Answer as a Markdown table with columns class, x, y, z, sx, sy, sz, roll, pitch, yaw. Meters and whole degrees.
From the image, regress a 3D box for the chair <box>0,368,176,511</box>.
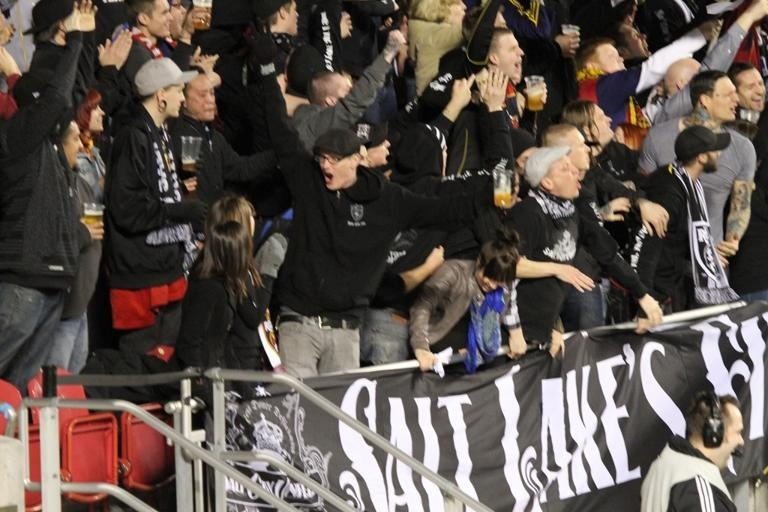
| class | x | y | z | sx | sy | sz | roll | pitch | yaw |
| --- | --- | --- | --- | --- | --- | --- | --- | --- | --- |
| chair | -2.650 | 1.660 | 10.196 | 1.543 | 1.485 | 1.144 | -1 | -2 | 15 |

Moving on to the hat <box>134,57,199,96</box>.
| class | x | y | z | sx | sy | sz | roll | pitch | yaw |
| --- | --- | --- | --- | --- | --- | --- | --- | --- | --- |
| hat | -2.108 | -1.672 | 11.445 | 0.493 | 0.214 | 0.339 | -22 | 25 | 1 |

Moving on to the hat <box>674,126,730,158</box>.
| class | x | y | z | sx | sy | sz | roll | pitch | yaw |
| --- | --- | --- | --- | --- | --- | --- | --- | --- | --- |
| hat | 3.553 | -1.291 | 13.304 | 0.628 | 0.347 | 0.411 | -8 | 30 | 14 |

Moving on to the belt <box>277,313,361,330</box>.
| class | x | y | z | sx | sy | sz | roll | pitch | yaw |
| --- | --- | --- | --- | --- | --- | --- | --- | --- | --- |
| belt | -0.619 | 0.640 | 11.394 | 0.760 | 0.187 | 0.152 | -2 | -8 | -8 |

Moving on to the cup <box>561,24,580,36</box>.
| class | x | y | z | sx | sy | sz | roll | pitch | yaw |
| --- | --- | --- | --- | --- | --- | --- | --- | --- | --- |
| cup | 2.277 | -2.735 | 14.521 | 0.169 | 0.128 | 0.162 | 2 | -3 | 0 |

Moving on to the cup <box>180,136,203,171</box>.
| class | x | y | z | sx | sy | sz | roll | pitch | yaw |
| --- | --- | --- | --- | --- | --- | --- | --- | --- | --- |
| cup | -1.911 | -0.988 | 11.684 | 0.221 | 0.319 | 0.220 | 13 | 18 | -4 |

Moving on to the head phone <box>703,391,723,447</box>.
| class | x | y | z | sx | sy | sz | roll | pitch | yaw |
| --- | --- | --- | --- | --- | --- | --- | --- | --- | --- |
| head phone | 3.358 | 1.630 | 12.052 | 0.171 | 0.454 | 0.504 | 3 | 8 | 17 |

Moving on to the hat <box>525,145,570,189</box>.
| class | x | y | z | sx | sy | sz | roll | pitch | yaw |
| --- | --- | --- | --- | --- | --- | --- | --- | --- | --- |
| hat | 1.671 | -0.943 | 12.071 | 0.446 | 0.445 | 0.351 | 6 | 36 | 16 |

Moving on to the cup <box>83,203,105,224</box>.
| class | x | y | z | sx | sy | sz | roll | pitch | yaw |
| --- | --- | --- | --- | --- | --- | --- | --- | --- | --- |
| cup | -2.719 | -0.377 | 11.089 | 0.189 | 0.189 | 0.152 | 1 | 24 | -22 |
